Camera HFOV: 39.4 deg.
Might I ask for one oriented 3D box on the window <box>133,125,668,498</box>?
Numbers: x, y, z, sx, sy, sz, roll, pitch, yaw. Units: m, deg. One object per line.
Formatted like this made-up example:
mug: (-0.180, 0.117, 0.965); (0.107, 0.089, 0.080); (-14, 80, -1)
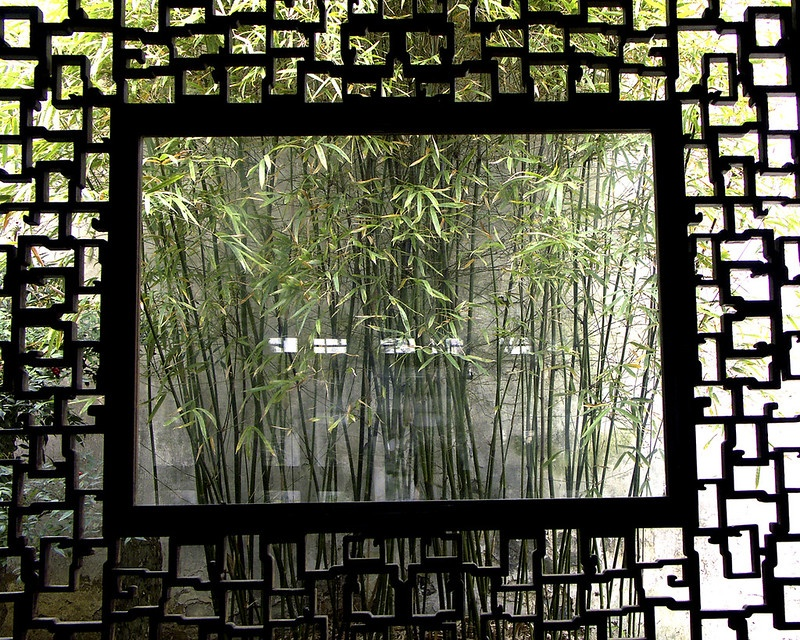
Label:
window: (-0.005, 0.002, 3.825); (1.968, 0.049, 1.532); (0, 95, -8)
